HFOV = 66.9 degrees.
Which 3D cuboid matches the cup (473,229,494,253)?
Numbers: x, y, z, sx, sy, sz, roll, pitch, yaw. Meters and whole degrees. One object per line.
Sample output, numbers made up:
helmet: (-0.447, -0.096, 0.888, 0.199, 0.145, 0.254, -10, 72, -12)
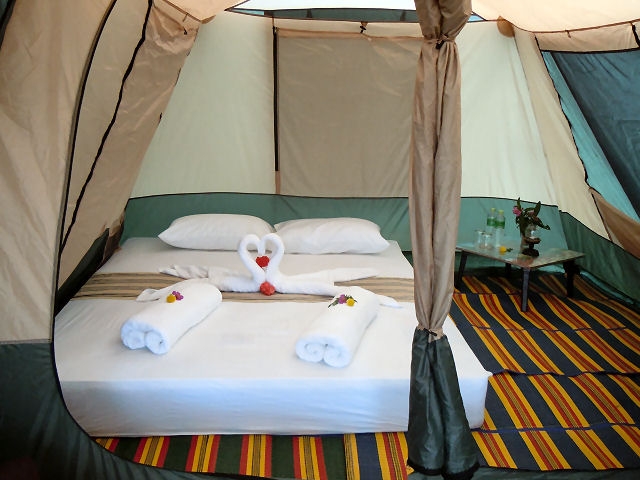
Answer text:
cup: (1.495, 0.001, 4.400, 0.188, 0.237, 0.206, -1, -1, 0)
